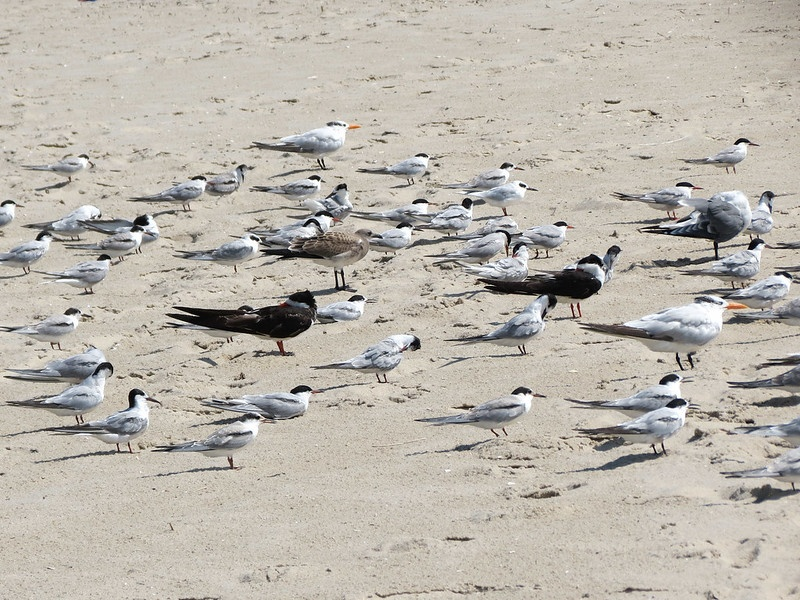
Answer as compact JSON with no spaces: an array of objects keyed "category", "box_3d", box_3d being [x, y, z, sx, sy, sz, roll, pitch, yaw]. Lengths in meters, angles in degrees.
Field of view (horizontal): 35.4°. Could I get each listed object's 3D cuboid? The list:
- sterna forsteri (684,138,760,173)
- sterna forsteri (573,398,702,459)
[{"category":"sterna forsteri","box_3d":[5.328,-2.327,20.299,1.300,0.505,0.664,-10,21,-19]},{"category":"sterna forsteri","box_3d":[2.486,1.327,13.033,1.218,0.521,0.548,-6,21,-5]}]
